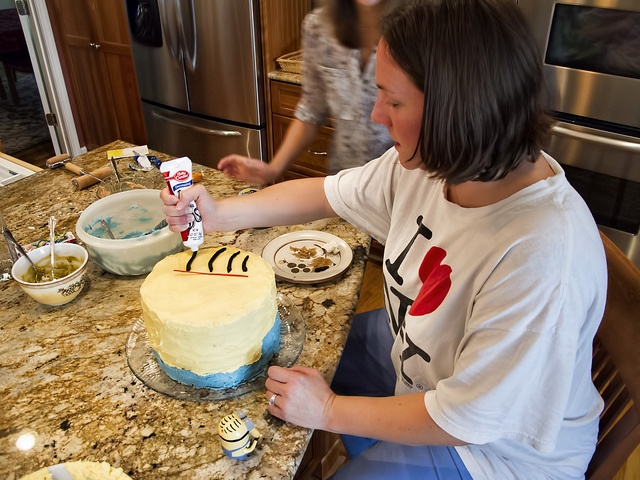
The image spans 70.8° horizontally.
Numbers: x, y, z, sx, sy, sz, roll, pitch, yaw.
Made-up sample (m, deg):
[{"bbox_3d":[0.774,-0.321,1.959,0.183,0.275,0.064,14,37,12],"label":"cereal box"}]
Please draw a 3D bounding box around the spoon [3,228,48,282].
[{"bbox_3d":[-0.901,0.050,1.382,0.040,0.201,0.022,-43,16,-27],"label":"spoon"}]

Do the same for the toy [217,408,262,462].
[{"bbox_3d":[-0.167,0.410,0.959,0.072,0.069,0.098,-5,8,3],"label":"toy"}]

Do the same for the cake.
[{"bbox_3d":[-0.281,0.130,1.134,0.318,0.210,0.313,-10,40,-13],"label":"cake"}]

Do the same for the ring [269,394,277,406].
[{"bbox_3d":[-0.107,0.366,1.027,0.008,0.018,0.022,7,-2,-1],"label":"ring"}]

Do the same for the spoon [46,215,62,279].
[{"bbox_3d":[-0.818,0.028,1.389,0.039,0.200,0.027,-5,13,-16],"label":"spoon"}]
